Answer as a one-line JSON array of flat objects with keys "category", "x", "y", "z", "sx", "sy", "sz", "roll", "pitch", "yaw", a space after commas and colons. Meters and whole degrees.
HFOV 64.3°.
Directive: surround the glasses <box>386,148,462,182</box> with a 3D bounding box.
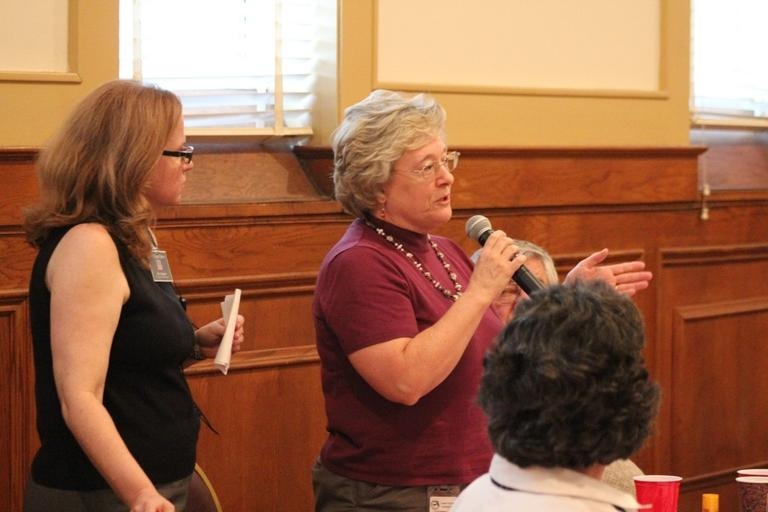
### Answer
[{"category": "glasses", "x": 0.166, "y": -0.290, "z": 2.001, "sx": 0.139, "sy": 0.044, "sz": 0.138, "roll": -13, "pitch": 4, "yaw": 44}]
